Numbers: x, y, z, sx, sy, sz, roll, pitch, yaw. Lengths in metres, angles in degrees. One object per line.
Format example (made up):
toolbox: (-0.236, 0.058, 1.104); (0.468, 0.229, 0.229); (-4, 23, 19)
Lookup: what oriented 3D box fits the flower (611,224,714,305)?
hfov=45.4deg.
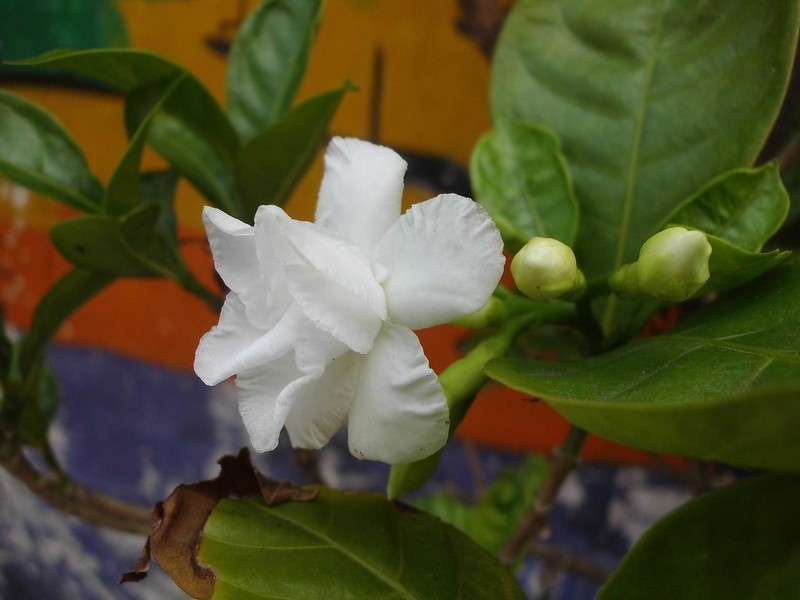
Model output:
flower: (0.226, -0.034, 0.851); (0.045, 0.047, 0.093); (7, -7, -28)

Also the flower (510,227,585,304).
flower: (0.133, -0.029, 0.882); (0.059, 0.055, 0.033); (13, -15, -29)

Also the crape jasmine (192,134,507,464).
crape jasmine: (0.000, 0.029, 0.883); (0.105, 0.247, 0.256); (13, -6, 20)
